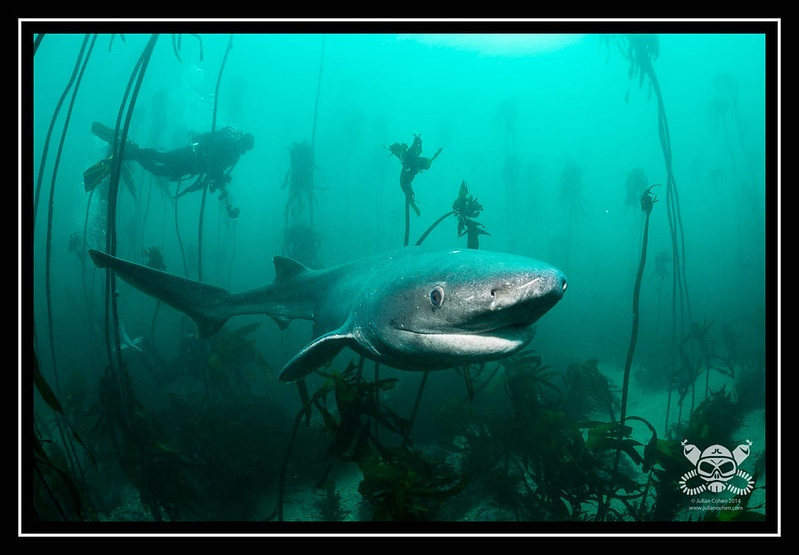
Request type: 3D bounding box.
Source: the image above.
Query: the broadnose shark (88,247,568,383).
[{"bbox_3d":[-1.015,0.483,12.379,9.018,1.965,3.541,3,4,32],"label":"broadnose shark"}]
